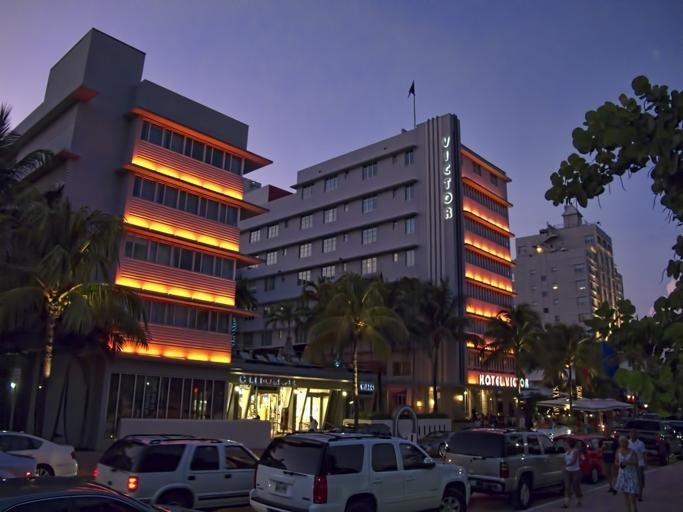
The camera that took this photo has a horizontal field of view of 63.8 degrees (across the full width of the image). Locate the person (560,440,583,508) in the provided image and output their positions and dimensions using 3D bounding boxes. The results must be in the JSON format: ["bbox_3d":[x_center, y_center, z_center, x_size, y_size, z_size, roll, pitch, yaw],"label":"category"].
[{"bbox_3d":[7.049,6.651,17.003,0.593,1.991,1.595,-7,-22,21],"label":"person"}]

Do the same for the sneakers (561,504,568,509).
[{"bbox_3d":[6.616,7.413,16.356,0.100,0.111,0.266,-11,-27,23],"label":"sneakers"}]
